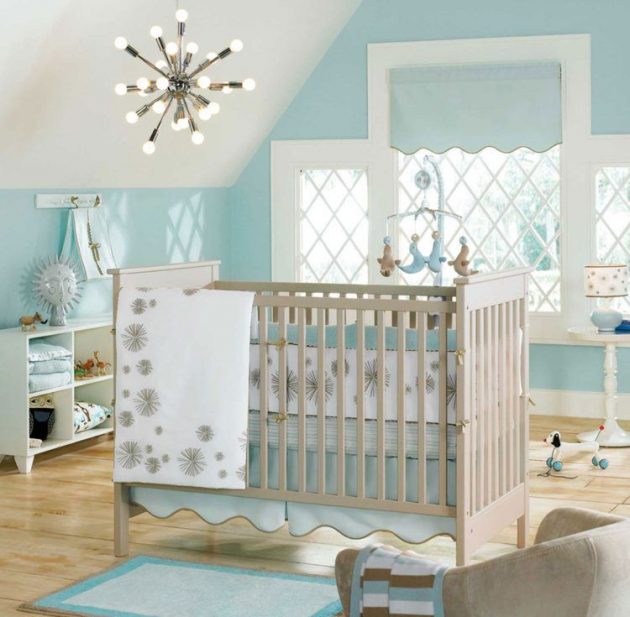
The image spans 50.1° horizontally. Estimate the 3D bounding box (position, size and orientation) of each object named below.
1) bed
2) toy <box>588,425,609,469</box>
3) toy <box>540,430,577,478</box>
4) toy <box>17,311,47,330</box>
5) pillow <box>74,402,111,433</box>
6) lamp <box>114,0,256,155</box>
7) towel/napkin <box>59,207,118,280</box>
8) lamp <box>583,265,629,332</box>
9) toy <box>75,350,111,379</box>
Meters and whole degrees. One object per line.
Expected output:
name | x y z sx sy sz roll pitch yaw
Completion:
bed | 0.097 0.335 2.352 1.448 1.178 1.000 2 2 26
toy | 1.539 0.763 3.653 0.098 0.323 0.123 -2 1 4
toy | 1.216 0.735 3.427 0.192 0.300 0.139 1 0 17
toy | -1.501 0.067 3.565 0.120 0.082 0.098 -1 1 -4
pillow | -1.268 0.626 3.819 0.062 0.142 0.220 -5 -3 17
lamp | -0.690 -1.211 3.457 0.571 0.627 0.809 -6 39 -1
towel/napkin | -1.342 -0.387 3.967 0.290 0.424 0.154 -2 4 -21
lamp | 1.765 -0.068 4.107 0.226 0.391 0.523 1 4 23
toy | -1.305 0.339 3.919 0.190 0.169 0.122 2 1 12
